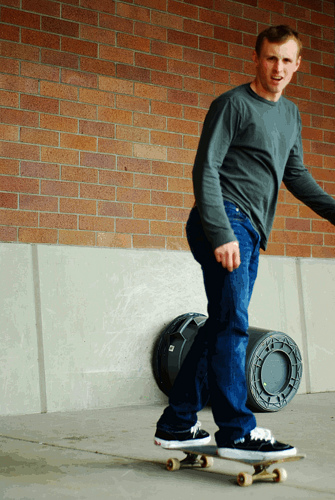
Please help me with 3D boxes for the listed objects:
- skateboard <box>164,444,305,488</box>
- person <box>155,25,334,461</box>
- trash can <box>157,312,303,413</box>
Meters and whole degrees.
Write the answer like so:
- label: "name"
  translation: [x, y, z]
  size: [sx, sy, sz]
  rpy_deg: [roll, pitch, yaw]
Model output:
- label: "skateboard"
  translation: [0.198, 0.724, 2.016]
  size: [0.599, 0.093, 0.198]
  rpy_deg: [-7, -11, 42]
- label: "person"
  translation: [0.231, -0.043, 2.021]
  size: [0.477, 1.623, 0.516]
  rpy_deg: [3, 4, 2]
- label: "trash can"
  translation: [0.376, 0.762, 3.703]
  size: [0.895, 0.571, 0.425]
  rpy_deg: [4, 4, 30]
